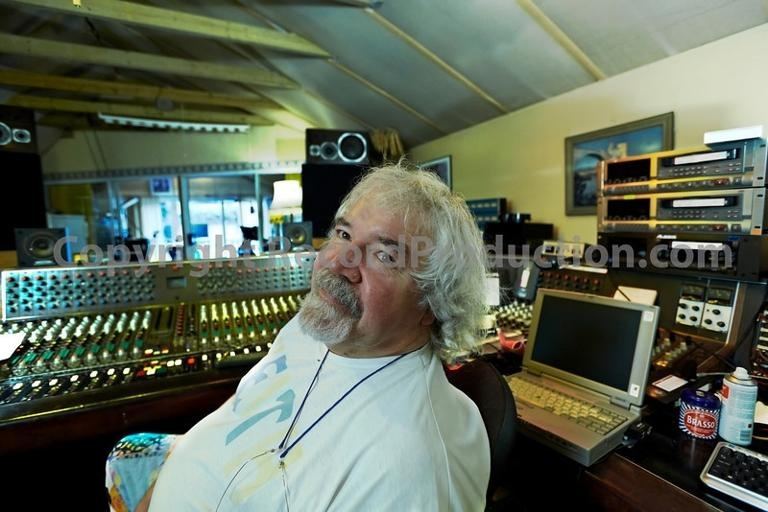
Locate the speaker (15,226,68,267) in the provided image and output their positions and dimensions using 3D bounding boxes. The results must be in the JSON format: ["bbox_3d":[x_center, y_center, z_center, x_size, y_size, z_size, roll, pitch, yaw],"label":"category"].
[{"bbox_3d":[-2.357,-0.093,3.395,0.278,0.270,0.154,-5,25,-37],"label":"speaker"}]

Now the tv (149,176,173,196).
[{"bbox_3d":[-3.858,-1.234,8.480,0.332,0.353,0.035,-7,25,-34],"label":"tv"}]

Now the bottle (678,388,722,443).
[{"bbox_3d":[1.694,0.866,2.637,0.269,0.216,0.263,5,1,-39],"label":"bottle"}]
